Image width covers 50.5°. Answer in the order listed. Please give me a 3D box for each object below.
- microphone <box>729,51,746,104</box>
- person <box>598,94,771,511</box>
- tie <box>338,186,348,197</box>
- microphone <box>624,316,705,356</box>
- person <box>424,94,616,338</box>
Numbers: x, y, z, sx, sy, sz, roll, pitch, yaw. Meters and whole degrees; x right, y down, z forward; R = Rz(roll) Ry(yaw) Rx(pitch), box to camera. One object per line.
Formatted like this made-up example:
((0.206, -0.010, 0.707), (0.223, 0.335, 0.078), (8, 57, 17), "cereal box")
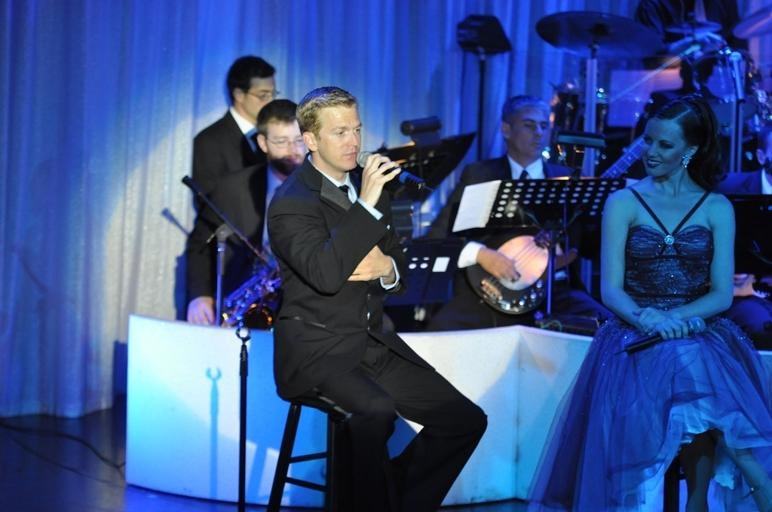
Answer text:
((2.662, -1.353, 6.128), (0.119, 0.418, 0.117), (6, 36, 34), "microphone")
((1.414, 0.211, 3.903), (0.761, 1.951, 0.417), (1, 3, 14), "person")
((-0.224, -0.326, 4.151), (0.016, 0.052, 0.058), (-11, -10, 38), "tie")
((1.316, 0.375, 3.823), (0.326, 0.061, 0.067), (-19, -34, -15), "microphone")
((0.899, -0.231, 5.294), (0.818, 1.645, 0.225), (3, -15, -6), "person")
